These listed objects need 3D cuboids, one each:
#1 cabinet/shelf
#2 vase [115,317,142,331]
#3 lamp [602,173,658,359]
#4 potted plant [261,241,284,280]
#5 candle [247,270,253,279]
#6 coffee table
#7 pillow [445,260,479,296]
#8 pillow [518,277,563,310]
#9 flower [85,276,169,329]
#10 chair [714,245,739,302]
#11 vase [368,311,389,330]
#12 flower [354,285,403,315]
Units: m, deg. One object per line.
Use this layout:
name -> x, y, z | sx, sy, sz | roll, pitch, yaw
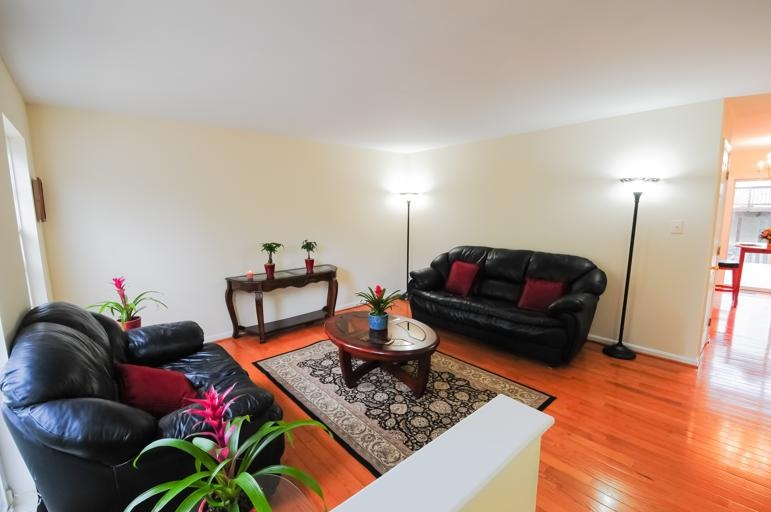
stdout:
cabinet/shelf -> -1.221, 0.588, 6.042 | 1.510, 0.803, 0.467 | -9, 17, -39
vase -> -2.443, 0.637, 4.488 | 0.164, 0.116, 0.160 | -2, 4, -23
lamp -> 2.685, 0.114, 5.198 | 0.395, 1.954, 0.396 | 7, 0, 30
potted plant -> -1.394, 0.043, 5.730 | 0.284, 0.402, 0.252 | -6, -7, 34
candle -> -1.611, 0.213, 5.598 | 0.081, 0.087, 0.080 | 0, -1, -5
coffee table -> -0.081, 0.945, 4.934 | 0.942, 0.550, 1.197 | -23, 15, -41
pillow -> 0.987, 0.303, 6.007 | 0.428, 0.401, 0.132 | 18, -8, 39
pillow -> 1.762, 0.445, 5.352 | 0.465, 0.306, 0.355 | 5, 10, 25
flower -> -2.598, 0.523, 4.743 | 0.613, 0.412, 0.597 | -1, 7, -16
chair -> 4.895, 0.367, 6.804 | 0.323, 0.510, 0.311 | 4, 6, 23
vase -> -0.079, 0.655, 4.767 | 0.178, 0.125, 0.171 | 0, -1, 5
flower -> -0.121, 0.560, 5.945 | 0.453, 0.223, 0.436 | 0, 3, -15
